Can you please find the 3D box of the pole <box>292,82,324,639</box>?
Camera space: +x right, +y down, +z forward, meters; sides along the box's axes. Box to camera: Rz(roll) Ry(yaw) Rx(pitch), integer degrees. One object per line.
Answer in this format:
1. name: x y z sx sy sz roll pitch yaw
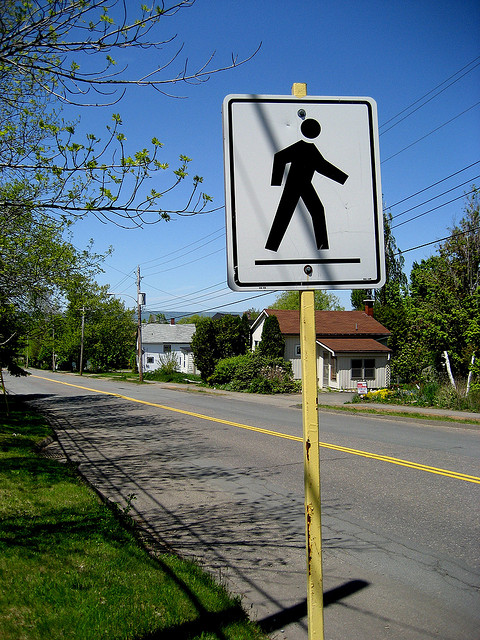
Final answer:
1. pole: 0.277 0.578 2.435 0.105 1.410 0.386 1 -3 7
